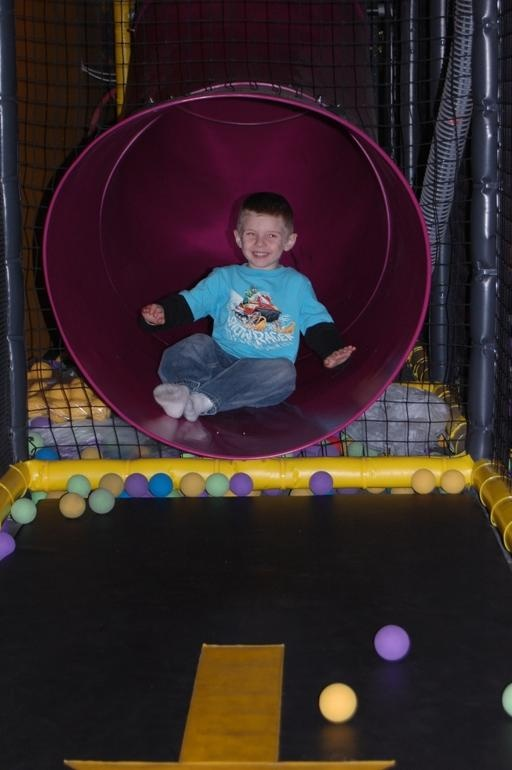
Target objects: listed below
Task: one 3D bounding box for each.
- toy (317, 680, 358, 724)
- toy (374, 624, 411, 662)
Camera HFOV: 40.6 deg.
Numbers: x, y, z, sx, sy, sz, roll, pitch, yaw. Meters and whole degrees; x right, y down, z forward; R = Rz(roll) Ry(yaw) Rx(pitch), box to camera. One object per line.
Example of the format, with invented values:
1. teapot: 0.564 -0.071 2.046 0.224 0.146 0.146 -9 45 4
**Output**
1. toy: 0.130 0.489 1.063 0.068 0.056 0.056 5 -32 -6
2. toy: 0.238 0.448 1.196 0.068 0.060 0.053 2 -32 -1
